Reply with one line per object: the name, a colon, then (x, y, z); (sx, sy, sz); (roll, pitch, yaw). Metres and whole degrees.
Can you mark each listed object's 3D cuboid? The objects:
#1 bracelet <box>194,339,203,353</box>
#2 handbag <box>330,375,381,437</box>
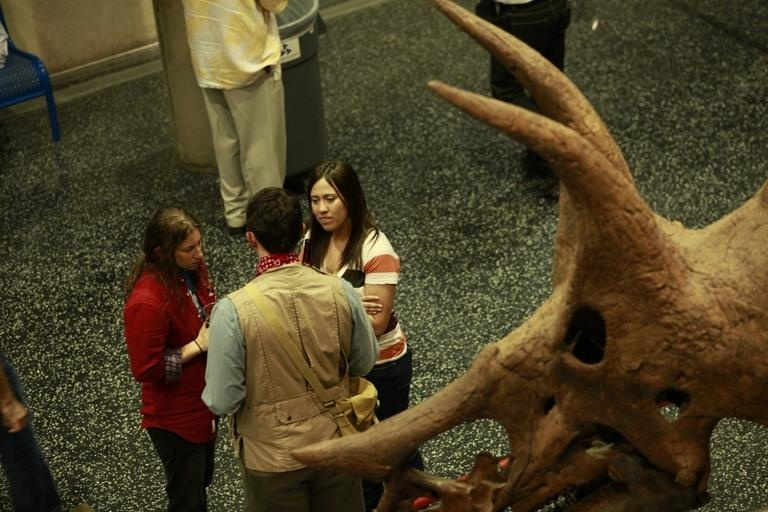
bracelet: (-0.903, 0.443, 3.373); (0.046, 0.054, 0.050); (0, -1, -10)
handbag: (-0.130, 0.678, 3.083); (0.197, 0.237, 0.250); (2, 37, 14)
